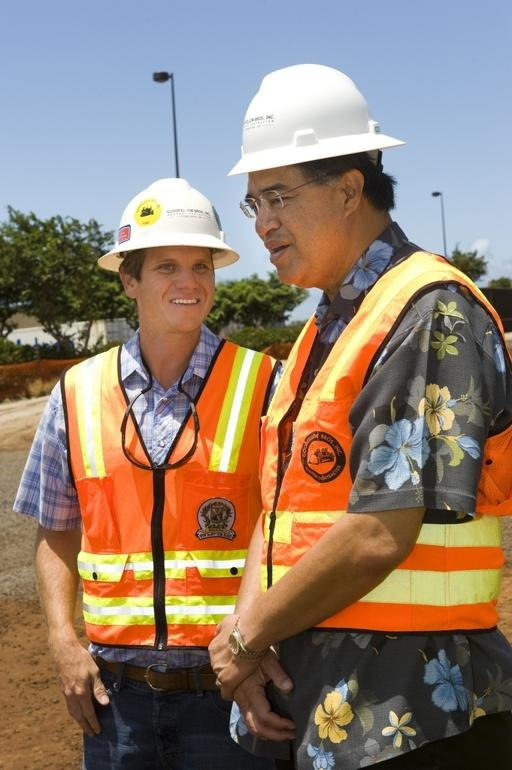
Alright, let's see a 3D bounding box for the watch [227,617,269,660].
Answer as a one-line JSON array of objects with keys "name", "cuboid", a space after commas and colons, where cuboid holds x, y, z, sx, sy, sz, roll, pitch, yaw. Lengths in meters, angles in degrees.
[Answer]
[{"name": "watch", "cuboid": [-0.030, 0.611, 2.038, 0.092, 0.072, 0.053, 19, 22, 21]}]
